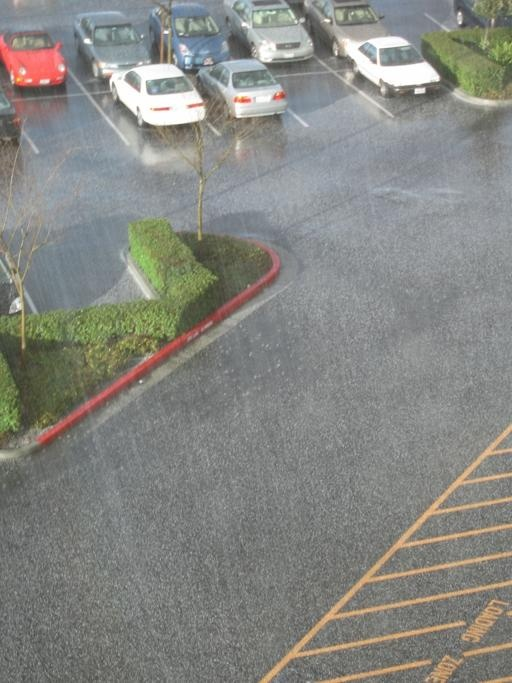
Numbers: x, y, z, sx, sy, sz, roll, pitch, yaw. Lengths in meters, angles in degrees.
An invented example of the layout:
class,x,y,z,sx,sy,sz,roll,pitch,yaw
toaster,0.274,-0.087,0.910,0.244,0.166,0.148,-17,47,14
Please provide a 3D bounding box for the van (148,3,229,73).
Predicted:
class,x,y,z,sx,sy,sz,roll,pitch,yaw
van,-2.419,-10.385,22.389,1.755,1.754,3.678,-12,44,-17

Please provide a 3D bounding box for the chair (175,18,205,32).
class,x,y,z,sx,sy,sz,roll,pitch,yaw
chair,-2.253,-10.409,21.965,0.967,0.363,0.739,-7,43,-7

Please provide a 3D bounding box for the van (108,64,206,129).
class,x,y,z,sx,sy,sz,roll,pitch,yaw
van,-2.968,-6.832,19.497,1.502,1.243,3.671,-13,43,-15
